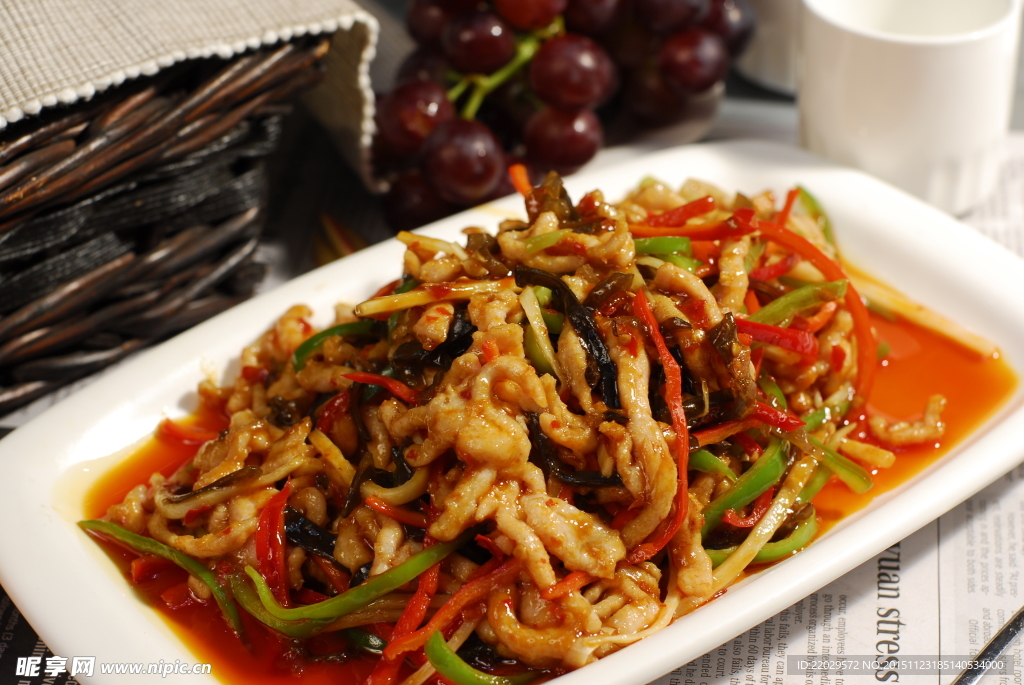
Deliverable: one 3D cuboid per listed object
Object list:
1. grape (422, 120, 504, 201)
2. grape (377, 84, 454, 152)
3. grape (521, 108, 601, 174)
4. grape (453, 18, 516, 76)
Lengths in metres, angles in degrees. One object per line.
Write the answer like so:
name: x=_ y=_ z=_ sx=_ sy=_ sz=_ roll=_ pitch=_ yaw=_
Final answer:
grape: x=-0.161 y=-0.590 z=3.192 sx=0.166 sy=0.252 sz=0.272 roll=-10 pitch=11 yaw=-20
grape: x=-0.341 y=-0.771 z=3.336 sx=0.247 sy=0.194 sz=0.185 roll=-13 pitch=18 yaw=34
grape: x=0.162 y=-0.685 z=3.371 sx=0.226 sy=0.236 sz=0.270 roll=19 pitch=60 yaw=5
grape: x=-0.109 y=-1.014 z=3.282 sx=0.236 sy=0.179 sz=0.112 roll=-5 pitch=52 yaw=1
